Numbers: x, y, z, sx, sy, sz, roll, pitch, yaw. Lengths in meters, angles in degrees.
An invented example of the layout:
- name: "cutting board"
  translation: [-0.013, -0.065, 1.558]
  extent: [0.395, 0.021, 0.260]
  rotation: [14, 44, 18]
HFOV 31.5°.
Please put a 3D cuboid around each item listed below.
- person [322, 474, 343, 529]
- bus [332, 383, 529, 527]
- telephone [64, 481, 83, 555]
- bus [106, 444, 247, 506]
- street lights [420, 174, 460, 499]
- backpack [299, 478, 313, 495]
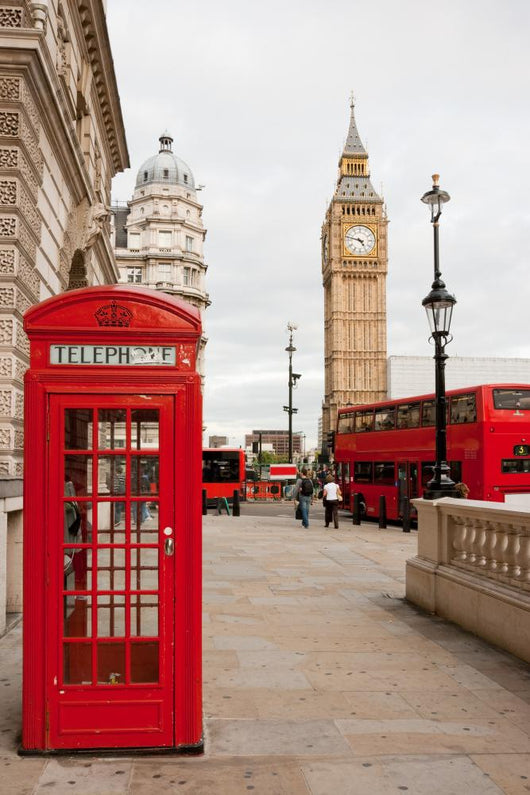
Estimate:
- name: "person"
  translation: [1.613, 2.469, 22.683]
  extent: [0.390, 1.263, 0.390]
  rotation: [0, 6, 12]
- name: "bus"
  translation: [3.926, 1.011, 22.433]
  extent: [1.775, 2.346, 5.690]
  rotation: [1, 1, -18]
- name: "telephone"
  translation: [-1.137, 0.705, 5.556]
  extent: [0.109, 0.296, 0.104]
  rotation: [-6, -3, -12]
- name: "bus"
  translation: [-2.650, 3.034, 34.868]
  extent: [1.721, 2.482, 5.273]
  rotation: [5, -3, 22]
- name: "street lights"
  translation: [2.326, -0.860, 12.587]
  extent: [0.624, 4.273, 0.599]
  rotation: [-1, -3, 17]
- name: "backpack"
  translation: [0.952, 2.053, 21.968]
  extent: [0.307, 0.463, 0.422]
  rotation: [2, -12, 0]
